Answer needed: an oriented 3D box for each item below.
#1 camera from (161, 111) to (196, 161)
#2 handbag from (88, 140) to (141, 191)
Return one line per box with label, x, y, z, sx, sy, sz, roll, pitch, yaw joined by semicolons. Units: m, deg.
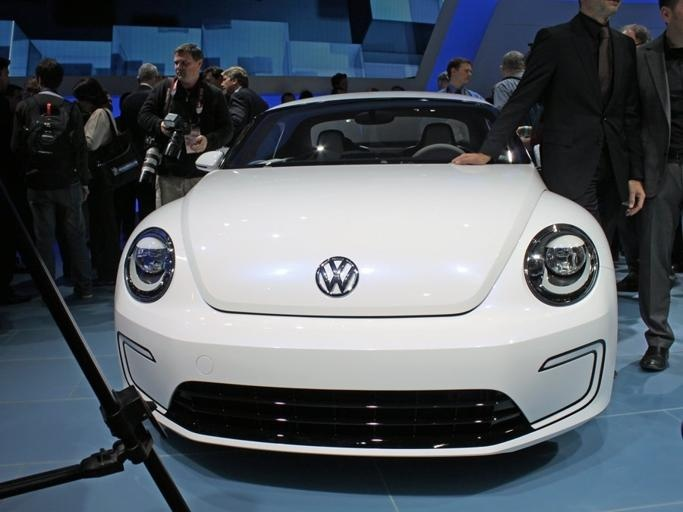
camera;-1.083;-0.799;3.530;0.288;0.166;0.254;-2;29;20
handbag;-1.993;-0.791;4.628;0.324;0.467;0.248;-36;25;-29
